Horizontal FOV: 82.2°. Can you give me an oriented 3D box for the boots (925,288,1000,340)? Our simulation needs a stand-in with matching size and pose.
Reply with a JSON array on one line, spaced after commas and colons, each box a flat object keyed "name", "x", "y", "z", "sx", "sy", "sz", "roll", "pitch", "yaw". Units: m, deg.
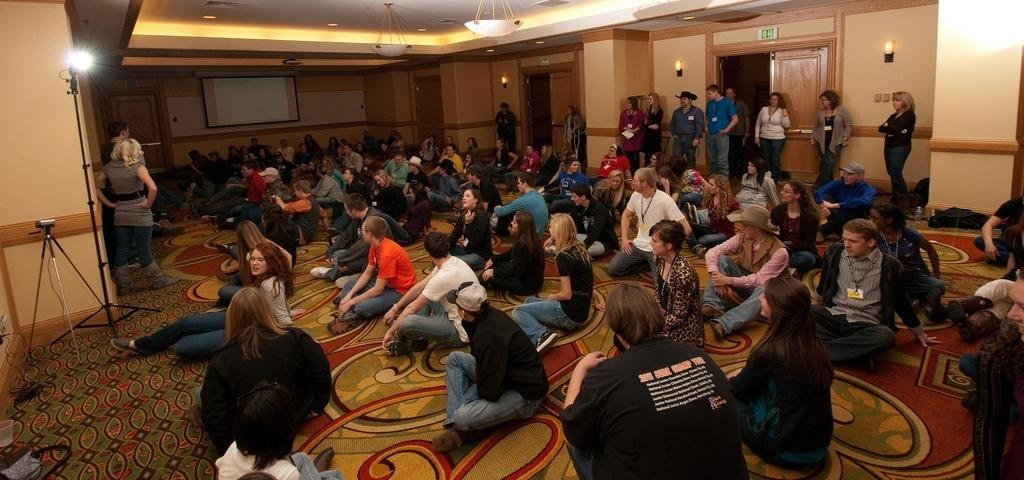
[{"name": "boots", "x": 7.326, "y": 1.208, "z": 9.338, "sx": 0.865, "sy": 0.393, "sz": 0.593, "roll": -12, "pitch": 33, "yaw": -29}]

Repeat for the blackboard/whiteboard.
[{"name": "blackboard/whiteboard", "x": -9.022, "y": -5.156, "z": 22.722, "sx": 0.267, "sy": 1.833, "sz": 8.098, "roll": 38, "pitch": 35, "yaw": 29}]

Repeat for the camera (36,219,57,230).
[{"name": "camera", "x": -8.038, "y": -0.265, "z": 10.105, "sx": 0.278, "sy": 0.179, "sz": 0.420, "roll": -17, "pitch": 22, "yaw": -38}]

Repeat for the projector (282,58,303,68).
[{"name": "projector", "x": -7.285, "y": -5.885, "z": 19.393, "sx": 0.800, "sy": 0.243, "sz": 0.767, "roll": -2, "pitch": 10, "yaw": -4}]

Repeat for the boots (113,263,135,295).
[{"name": "boots", "x": -7.515, "y": 0.786, "z": 11.326, "sx": 0.288, "sy": 0.535, "sz": 0.569, "roll": -11, "pitch": 31, "yaw": -27}]

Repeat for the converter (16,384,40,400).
[{"name": "converter", "x": -7.827, "y": 2.470, "z": 9.475, "sx": 0.335, "sy": 0.152, "sz": 0.261, "roll": -14, "pitch": 20, "yaw": -31}]
